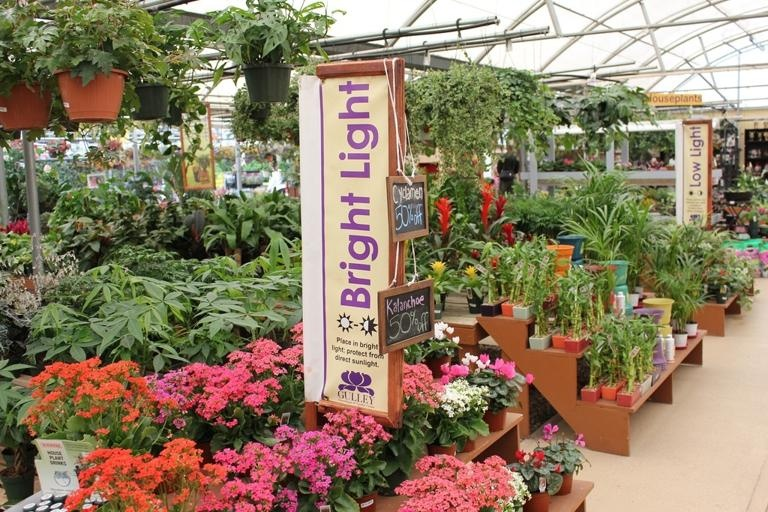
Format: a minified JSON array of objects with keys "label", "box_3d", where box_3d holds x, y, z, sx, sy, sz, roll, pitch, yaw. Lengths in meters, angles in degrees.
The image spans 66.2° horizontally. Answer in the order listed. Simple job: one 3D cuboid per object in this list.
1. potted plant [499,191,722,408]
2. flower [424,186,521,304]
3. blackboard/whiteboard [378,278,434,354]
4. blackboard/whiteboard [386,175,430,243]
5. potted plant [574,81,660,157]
[{"label":"potted plant","box_3d":[2.630,0.386,6.908,1.935,0.835,1.855,-6,12,-45]},{"label":"flower","box_3d":[0.863,-0.158,6.019,1.184,0.868,1.144,-1,3,-11]},{"label":"blackboard/whiteboard","box_3d":[0.106,0.311,3.162,0.030,0.350,0.413,6,13,44]},{"label":"blackboard/whiteboard","box_3d":[0.115,-0.257,3.154,0.024,0.356,0.353,-1,4,37]},{"label":"potted plant","box_3d":[2.522,-1.591,6.881,0.768,0.562,0.784,-19,32,-6]}]
